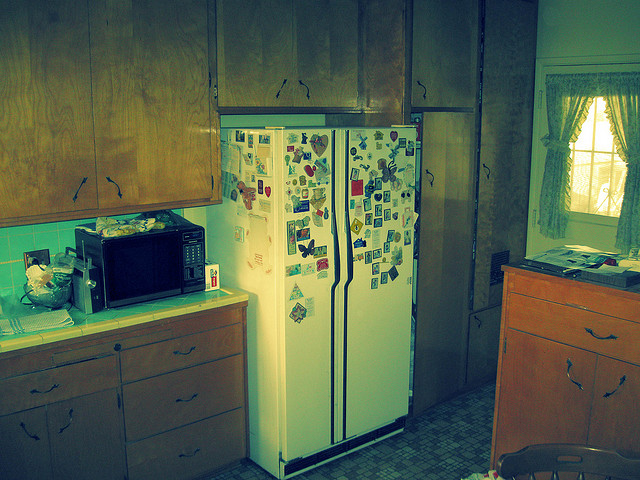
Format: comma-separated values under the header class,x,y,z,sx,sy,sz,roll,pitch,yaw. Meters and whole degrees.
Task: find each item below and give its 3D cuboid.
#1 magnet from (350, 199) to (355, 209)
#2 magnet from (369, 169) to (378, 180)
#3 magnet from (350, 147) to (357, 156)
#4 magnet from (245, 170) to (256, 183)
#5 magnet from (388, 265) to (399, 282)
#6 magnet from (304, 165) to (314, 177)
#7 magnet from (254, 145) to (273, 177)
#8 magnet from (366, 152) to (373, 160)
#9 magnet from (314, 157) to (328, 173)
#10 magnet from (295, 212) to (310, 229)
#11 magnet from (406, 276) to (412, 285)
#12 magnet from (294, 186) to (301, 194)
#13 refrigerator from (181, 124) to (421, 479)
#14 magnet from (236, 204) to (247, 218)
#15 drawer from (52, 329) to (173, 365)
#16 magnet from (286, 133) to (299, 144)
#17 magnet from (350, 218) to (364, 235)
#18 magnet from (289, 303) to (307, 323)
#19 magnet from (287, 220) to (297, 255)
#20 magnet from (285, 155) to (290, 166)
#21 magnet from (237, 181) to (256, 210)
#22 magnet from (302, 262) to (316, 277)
class,x,y,z,sx,sy,sz,roll,pitch,yaw
magnet,0.205,-0.234,3.561,0.052,0.062,0.013,-9,17,-40
magnet,0.347,-0.430,3.618,0.054,0.055,0.013,0,1,-27
magnet,0.211,-0.565,3.522,0.044,0.045,0.013,-1,9,-29
magnet,-0.430,-0.394,3.449,0.017,0.070,0.100,-12,15,-40
magnet,0.501,0.225,3.817,0.020,0.079,0.084,8,0,40
magnet,-0.065,-0.423,3.378,0.042,0.066,0.015,-32,28,-31
magnet,-0.325,-0.482,3.399,0.137,0.178,0.106,12,21,34
magnet,0.321,-0.544,3.590,0.033,0.063,0.036,1,6,-3
magnet,0.018,-0.469,3.425,0.083,0.082,0.025,-10,15,-34
magnet,-0.102,-0.108,3.407,0.100,0.066,0.024,-20,18,-35
magnet,0.623,0.281,3.920,0.031,0.057,0.058,7,10,42
magnet,-0.134,-0.304,3.364,0.038,0.039,0.010,-2,5,-35
refrigerator,0.051,0.369,3.746,1.317,2.248,0.530,-6,12,-17
magnet,-0.494,-0.190,3.540,0.079,0.057,0.011,7,7,45
drawer,-1.171,0.601,3.140,0.737,0.064,0.104,-9,13,-42
magnet,-0.165,-0.609,3.303,0.063,0.059,0.011,-9,20,-27
magnet,0.237,-0.090,3.598,0.023,0.085,0.081,12,61,43
magnet,-0.137,0.449,3.475,0.104,0.109,0.029,36,-9,-37
magnet,-0.171,-0.016,3.379,0.060,0.203,0.013,-8,12,-26
magnet,-0.192,-0.482,3.306,0.027,0.048,0.010,-3,3,-18
magnet,-0.449,-0.293,3.522,0.101,0.187,0.054,-5,13,36
magnet,-0.075,0.179,3.462,0.081,0.056,0.011,-11,13,-41
